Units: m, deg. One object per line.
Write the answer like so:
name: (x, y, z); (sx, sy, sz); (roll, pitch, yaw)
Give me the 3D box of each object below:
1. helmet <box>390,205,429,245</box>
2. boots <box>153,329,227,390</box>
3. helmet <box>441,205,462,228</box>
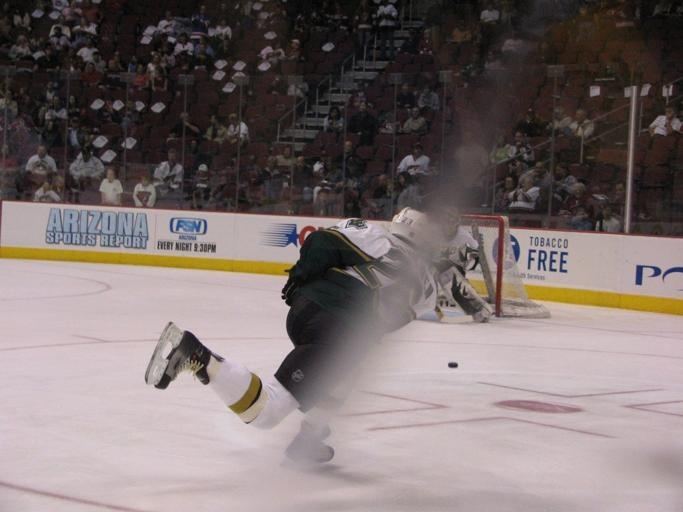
helmet: (0.544, -0.261, 7.356); (0.229, 0.267, 0.300); (38, -5, -31)
boots: (-1.139, 0.627, 6.634); (0.306, 0.698, 0.222); (24, -39, -4)
helmet: (1.578, -0.547, 12.781); (0.126, 0.329, 0.541); (6, 11, 22)
